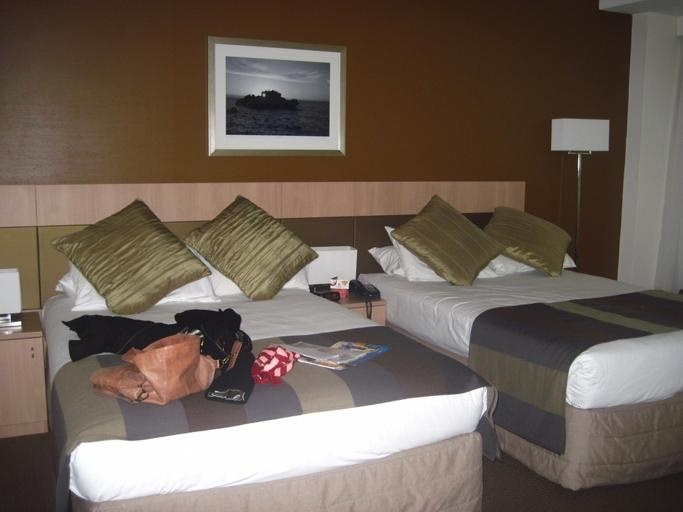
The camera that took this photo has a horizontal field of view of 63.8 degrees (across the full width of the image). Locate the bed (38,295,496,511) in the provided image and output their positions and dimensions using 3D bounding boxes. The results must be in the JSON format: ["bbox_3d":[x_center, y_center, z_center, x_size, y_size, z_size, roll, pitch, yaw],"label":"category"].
[{"bbox_3d":[-0.419,0.755,2.944,2.143,0.717,1.239,-6,7,-21],"label":"bed"}]

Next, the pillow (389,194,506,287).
[{"bbox_3d":[0.877,-0.092,4.593,0.762,0.592,0.552,1,8,33],"label":"pillow"}]

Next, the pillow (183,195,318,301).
[{"bbox_3d":[-0.648,-0.038,4.030,0.825,0.201,0.652,41,57,15],"label":"pillow"}]

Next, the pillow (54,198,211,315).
[{"bbox_3d":[-1.396,0.030,3.657,0.878,0.215,0.655,38,52,26],"label":"pillow"}]
